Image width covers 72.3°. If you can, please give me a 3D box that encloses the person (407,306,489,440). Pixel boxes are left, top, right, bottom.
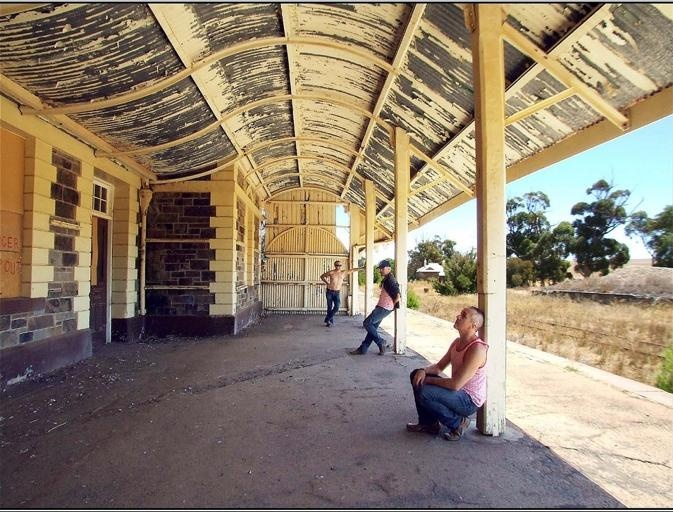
[{"bbox_3d":[1.276,1.302,5.213,0.791,1.520,0.840,6,-2,20],"label":"person"}]

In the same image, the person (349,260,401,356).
[{"bbox_3d":[0.804,0.957,8.873,0.802,1.864,1.036,1,6,2],"label":"person"}]

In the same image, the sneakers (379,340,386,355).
[{"bbox_3d":[0.877,1.707,8.667,0.100,0.276,0.088,11,-11,-24],"label":"sneakers"}]

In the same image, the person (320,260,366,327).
[{"bbox_3d":[0.150,1.204,15.023,1.509,2.422,0.559,5,-13,-9],"label":"person"}]

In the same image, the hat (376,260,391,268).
[{"bbox_3d":[0.884,0.132,8.391,0.183,0.112,0.130,15,-20,-32],"label":"hat"}]

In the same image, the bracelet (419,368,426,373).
[{"bbox_3d":[0.983,1.298,5.278,0.048,0.049,0.050,7,-19,-12],"label":"bracelet"}]
